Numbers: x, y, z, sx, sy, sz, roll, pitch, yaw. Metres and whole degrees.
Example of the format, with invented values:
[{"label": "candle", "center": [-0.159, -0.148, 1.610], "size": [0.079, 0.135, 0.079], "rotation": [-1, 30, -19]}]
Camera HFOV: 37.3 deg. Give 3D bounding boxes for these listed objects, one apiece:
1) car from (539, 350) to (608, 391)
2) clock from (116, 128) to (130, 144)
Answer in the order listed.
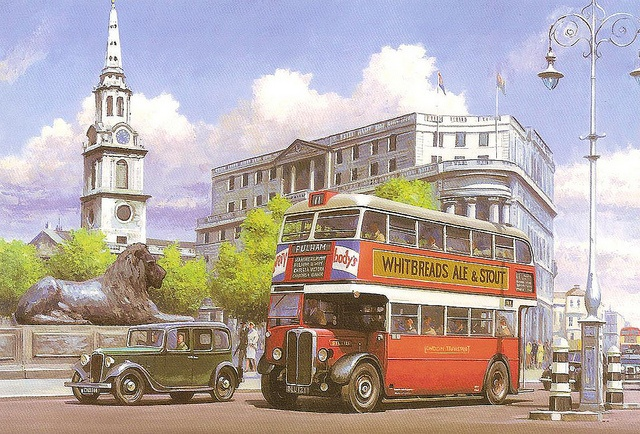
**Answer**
[{"label": "car", "center": [8.846, 5.335, 32.600], "size": [2.321, 1.126, 1.380], "rotation": [-6, -2, -15]}, {"label": "clock", "center": [-23.711, -9.799, 113.683], "size": [1.618, 1.609, 0.075], "rotation": [-21, 5, -41]}]
